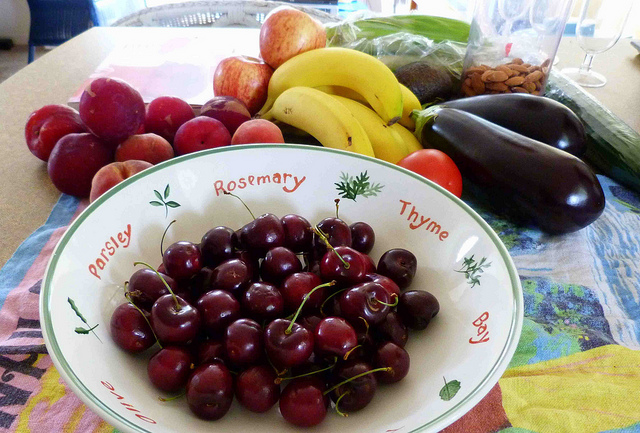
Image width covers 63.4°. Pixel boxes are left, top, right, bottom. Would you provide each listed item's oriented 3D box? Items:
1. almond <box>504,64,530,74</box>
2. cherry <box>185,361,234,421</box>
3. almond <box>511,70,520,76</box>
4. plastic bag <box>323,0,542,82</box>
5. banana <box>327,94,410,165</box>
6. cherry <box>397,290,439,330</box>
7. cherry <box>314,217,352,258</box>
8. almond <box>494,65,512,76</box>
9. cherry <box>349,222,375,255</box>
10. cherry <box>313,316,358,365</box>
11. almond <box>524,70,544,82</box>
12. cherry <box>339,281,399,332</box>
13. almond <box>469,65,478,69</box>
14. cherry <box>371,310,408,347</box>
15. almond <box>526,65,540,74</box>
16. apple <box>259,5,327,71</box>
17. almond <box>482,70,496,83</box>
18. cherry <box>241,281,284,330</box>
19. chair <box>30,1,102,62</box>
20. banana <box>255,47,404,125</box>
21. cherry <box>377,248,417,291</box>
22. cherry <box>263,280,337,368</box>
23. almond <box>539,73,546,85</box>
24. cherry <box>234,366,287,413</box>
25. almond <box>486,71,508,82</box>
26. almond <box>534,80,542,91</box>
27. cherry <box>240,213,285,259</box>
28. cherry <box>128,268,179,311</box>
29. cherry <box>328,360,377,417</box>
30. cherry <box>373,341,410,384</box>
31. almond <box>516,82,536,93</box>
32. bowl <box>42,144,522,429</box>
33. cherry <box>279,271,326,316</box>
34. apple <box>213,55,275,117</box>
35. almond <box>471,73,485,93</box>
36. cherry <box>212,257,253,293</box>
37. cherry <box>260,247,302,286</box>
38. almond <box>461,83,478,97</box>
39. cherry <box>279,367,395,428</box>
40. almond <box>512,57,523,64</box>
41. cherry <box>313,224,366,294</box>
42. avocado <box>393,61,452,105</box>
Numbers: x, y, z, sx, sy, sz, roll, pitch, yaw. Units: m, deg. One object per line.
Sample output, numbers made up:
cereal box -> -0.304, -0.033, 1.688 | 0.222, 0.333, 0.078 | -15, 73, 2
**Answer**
almond -> 0.505, -0.375, 1.312 | 0.067, 0.021, 0.020 | 19, 35, 17
cherry -> -0.167, 0.266, 0.795 | 0.078, 0.077, 0.099 | -6, 16, -14
almond -> 0.497, -0.364, 1.311 | 0.018, 0.007, 0.015 | -1, 59, -2
plastic bag -> 0.319, -0.462, 1.432 | 0.452, 0.124, 0.257 | -3, 24, 4
banana -> 0.106, -0.188, 1.133 | 0.057, 0.074, 0.214 | -43, 67, -10
cherry -> 0.158, 0.150, 0.834 | 0.050, 0.067, 0.037 | -8, 42, 7
cherry -> 0.025, 0.042, 0.934 | 0.063, 0.066, 0.063 | -4, 53, 3
almond -> 0.465, -0.373, 1.314 | 0.039, 0.013, 0.022 | 32, 62, 18
cherry -> 0.075, 0.038, 0.918 | 0.045, 0.051, 0.059 | -5, 91, -6
cherry -> 0.022, 0.187, 0.785 | 0.062, 0.069, 0.077 | -2, 58, 5
almond -> 0.544, -0.355, 1.311 | 0.043, 0.014, 0.023 | -26, 90, -11
cherry -> 0.080, 0.134, 0.830 | 0.106, 0.076, 0.074 | -8, 12, 45
almond -> 0.401, -0.388, 1.346 | 0.006, 0.008, 0.023 | 29, 29, 33
cherry -> 0.116, 0.178, 0.825 | 0.045, 0.063, 0.035 | 3, 40, 4
almond -> 0.545, -0.376, 1.318 | 0.032, 0.011, 0.016 | -32, 50, -24
apple -> -0.072, -0.452, 1.369 | 0.158, 0.158, 0.159 | 19, 7, -13
almond -> 0.433, -0.353, 1.306 | 0.025, 0.009, 0.032 | -22, 20, -1
cherry -> -0.089, 0.137, 0.815 | 0.065, 0.067, 0.067 | -1, 24, -6
chair -> -1.589, -1.170, 3.202 | 0.279, 0.473, 0.298 | -1, 46, -7
banana -> 0.066, -0.333, 1.230 | 0.334, 0.095, 0.202 | 13, 56, 11
cherry -> 0.134, 0.085, 0.879 | 0.066, 0.064, 0.065 | -7, 18, -11
cherry -> -0.032, 0.172, 0.796 | 0.073, 0.068, 0.136 | 26, 48, -16
almond -> 0.572, -0.350, 1.329 | 0.015, 0.020, 0.006 | 2, 24, -18
cherry -> -0.092, 0.257, 0.766 | 0.070, 0.052, 0.052 | -40, 80, 3
almond -> 0.448, -0.351, 1.302 | 0.037, 0.012, 0.025 | -5, 66, -4
almond -> 0.560, -0.336, 1.326 | 0.023, 0.023, 0.010 | -17, 14, -41
cherry -> -0.095, 0.032, 0.876 | 0.060, 0.047, 0.080 | 28, 55, 20
cherry -> -0.269, 0.113, 0.818 | 0.061, 0.038, 0.068 | -10, 68, -9
cherry -> 0.056, 0.275, 0.820 | 0.074, 0.084, 0.079 | 4, 66, 2
cherry -> 0.109, 0.219, 0.825 | 0.057, 0.059, 0.055 | 12, 38, 9
almond -> 0.528, -0.328, 1.315 | 0.031, 0.010, 0.025 | 2, 60, -6
bowl -> -0.055, 0.105, 0.850 | 0.703, 0.118, 0.502 | -4, 60, -5
cherry -> -0.018, 0.117, 0.865 | 0.074, 0.075, 0.077 | -3, 31, 7
apple -> -0.208, -0.328, 1.371 | 0.147, 0.149, 0.148 | -10, 35, -45
almond -> 0.406, -0.339, 1.323 | 0.019, 0.034, 0.047 | -23, 62, -14
cherry -> -0.140, 0.097, 0.837 | 0.060, 0.046, 0.047 | 2, 90, -12
cherry -> -0.063, 0.083, 0.899 | 0.059, 0.072, 0.063 | -6, 55, -1
almond -> 0.389, -0.325, 1.344 | 0.031, 0.011, 0.040 | -46, 62, 3
cherry -> 0.032, 0.273, 0.814 | 0.159, 0.061, 0.064 | -19, 32, -15
almond -> 0.512, -0.401, 1.338 | 0.025, 0.008, 0.033 | 15, 60, 7
cherry -> 0.032, 0.071, 0.846 | 0.057, 0.044, 0.098 | -35, 83, 3
avocado -> 0.287, -0.357, 1.420 | 0.142, 0.084, 0.106 | -3, 23, -28
